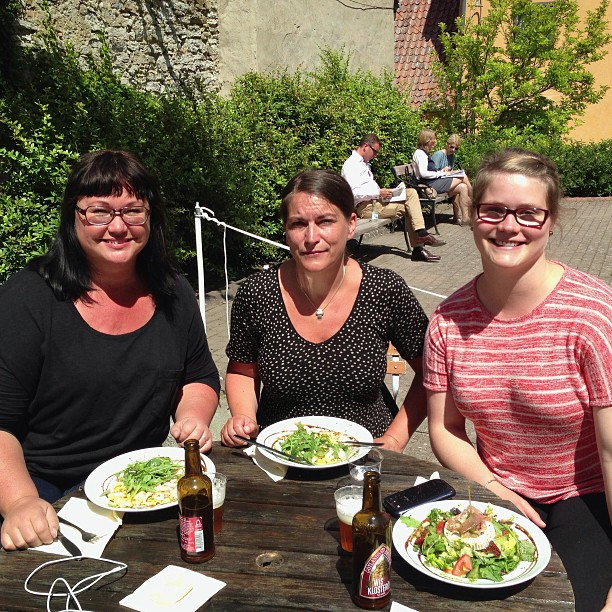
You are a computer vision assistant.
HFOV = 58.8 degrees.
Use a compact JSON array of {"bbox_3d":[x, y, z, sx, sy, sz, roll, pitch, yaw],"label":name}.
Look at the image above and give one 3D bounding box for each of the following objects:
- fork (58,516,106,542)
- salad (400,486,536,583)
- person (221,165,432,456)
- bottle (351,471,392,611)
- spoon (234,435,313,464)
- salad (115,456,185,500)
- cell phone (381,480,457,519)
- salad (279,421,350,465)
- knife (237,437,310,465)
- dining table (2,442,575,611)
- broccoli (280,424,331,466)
[{"bbox_3d":[-0.735,0.733,1.788,0.168,0.022,0.028,8,35,35],"label":"fork"},{"bbox_3d":[0.490,0.678,1.635,0.369,0.125,0.346,-2,24,-2],"label":"salad"},{"bbox_3d":[0.100,0.023,2.732,1.063,1.272,0.762,5,27,12],"label":"person"},{"bbox_3d":[0.176,0.622,1.445,0.107,0.383,0.175,1,27,5],"label":"bottle"},{"bbox_3d":[-0.121,0.592,2.240,0.284,0.030,0.022,20,52,29],"label":"spoon"},{"bbox_3d":[-0.562,0.626,2.014,0.213,0.052,0.209,-6,24,-10],"label":"salad"},{"bbox_3d":[0.397,0.668,1.911,0.203,0.029,0.104,-9,11,-25],"label":"cell phone"},{"bbox_3d":[0.010,0.566,2.228,0.302,0.059,0.194,21,32,40],"label":"salad"},{"bbox_3d":[-0.120,0.595,2.230,0.266,0.026,0.021,22,22,25],"label":"knife"},{"bbox_3d":[-0.134,0.729,1.747,1.580,0.210,0.760,2,24,6],"label":"dining table"},{"bbox_3d":[-0.018,0.565,2.220,0.125,0.046,0.133,-35,26,-32],"label":"broccoli"}]
